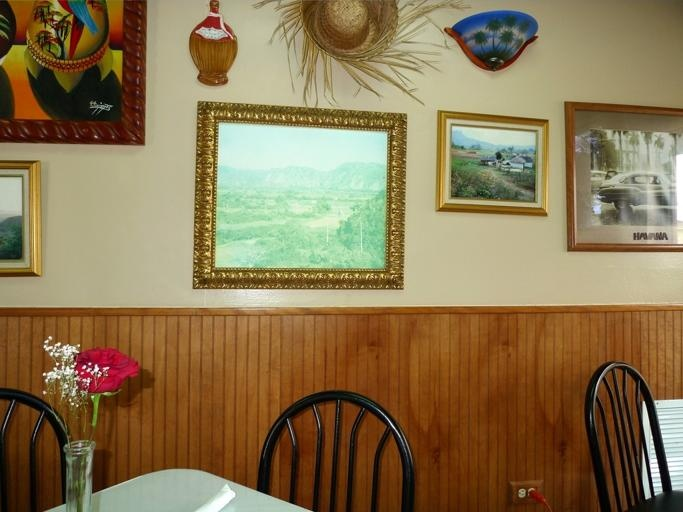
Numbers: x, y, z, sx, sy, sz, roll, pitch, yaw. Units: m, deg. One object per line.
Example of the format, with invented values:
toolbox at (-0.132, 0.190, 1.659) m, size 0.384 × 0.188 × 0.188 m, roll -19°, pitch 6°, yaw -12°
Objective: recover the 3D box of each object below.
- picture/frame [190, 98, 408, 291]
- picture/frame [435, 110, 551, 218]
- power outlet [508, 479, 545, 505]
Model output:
picture/frame at (-0.276, -0.324, 3.079) m, size 0.909 × 0.834 × 0.038 m, roll 2°, pitch -3°, yaw -9°
picture/frame at (0.791, -0.497, 3.196) m, size 0.533 × 0.479 × 0.026 m, roll 2°, pitch -4°, yaw -8°
power outlet at (0.984, 1.268, 3.165) m, size 0.130 × 0.097 × 0.015 m, roll 0°, pitch -1°, yaw -5°
